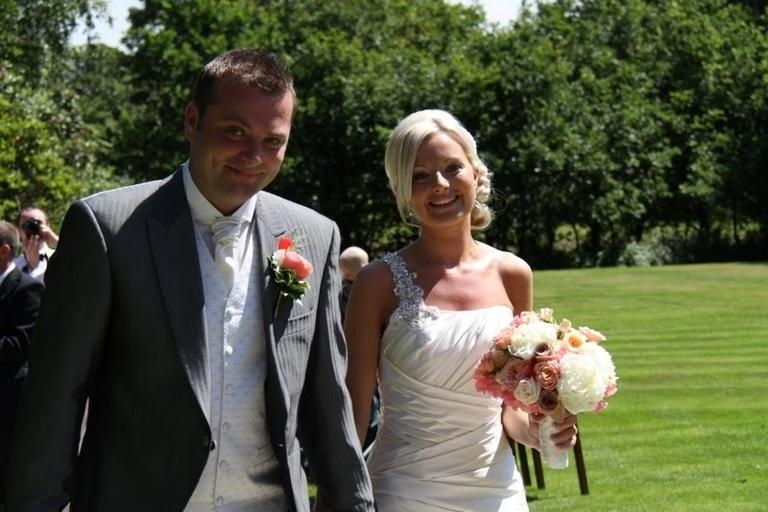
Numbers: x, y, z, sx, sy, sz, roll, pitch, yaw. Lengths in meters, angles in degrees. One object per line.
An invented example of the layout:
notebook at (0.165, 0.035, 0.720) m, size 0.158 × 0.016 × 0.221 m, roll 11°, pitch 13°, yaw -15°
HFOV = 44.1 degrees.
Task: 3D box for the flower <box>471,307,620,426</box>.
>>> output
flower at (1.260, 0.885, 7.175) m, size 0.835 × 0.555 × 0.815 m, roll -13°, pitch 33°, yaw 5°
